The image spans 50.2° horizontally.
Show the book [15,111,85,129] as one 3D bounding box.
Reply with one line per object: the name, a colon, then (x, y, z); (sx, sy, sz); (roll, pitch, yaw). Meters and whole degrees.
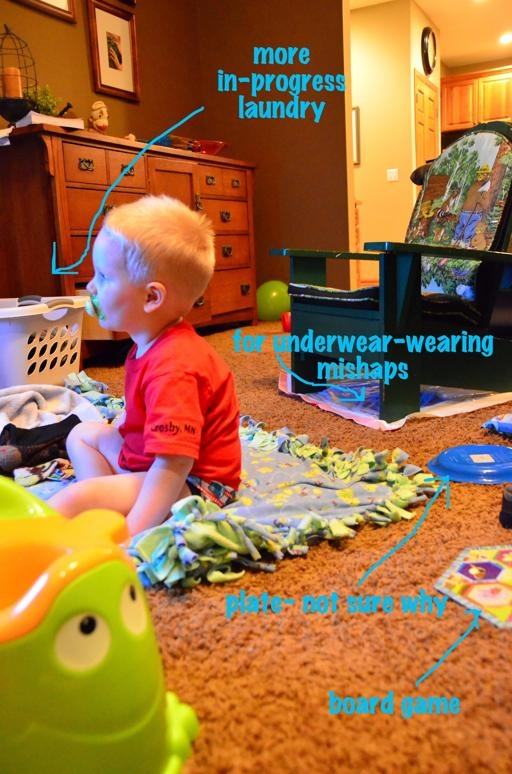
book: (-0.843, -1.077, 2.229); (0.265, 0.067, 0.174); (-4, 13, -22)
